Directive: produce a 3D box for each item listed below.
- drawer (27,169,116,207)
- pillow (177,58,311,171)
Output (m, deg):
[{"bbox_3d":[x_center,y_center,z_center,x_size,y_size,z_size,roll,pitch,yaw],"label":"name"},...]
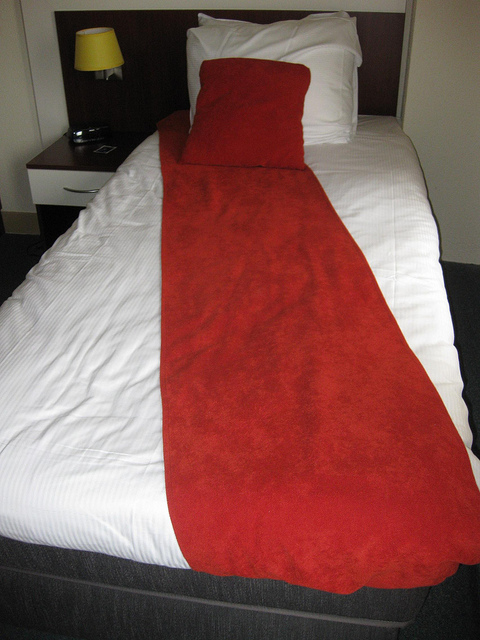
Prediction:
[{"bbox_3d":[-0.753,-0.607,2.103,0.263,0.133,0.226,3,34,0],"label":"drawer"},{"bbox_3d":[0.037,-0.751,1.713,0.484,0.508,0.156,0,-6,6],"label":"pillow"}]
